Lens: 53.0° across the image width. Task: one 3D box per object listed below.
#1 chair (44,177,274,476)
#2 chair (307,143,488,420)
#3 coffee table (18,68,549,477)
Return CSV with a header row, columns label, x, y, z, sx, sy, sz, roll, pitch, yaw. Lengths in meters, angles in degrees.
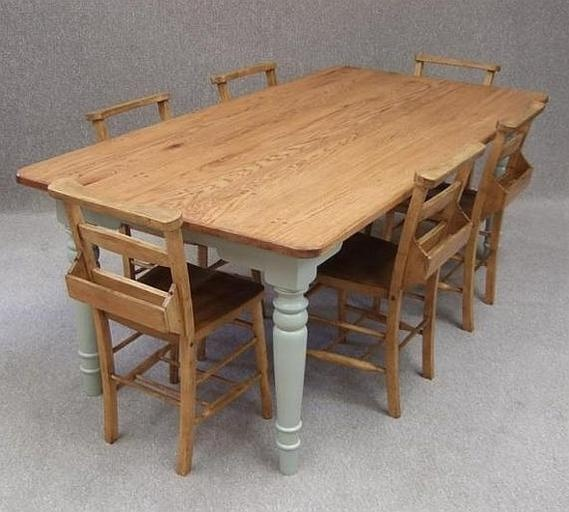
label,x,y,z,sx,sy,sz,roll,pitch,yaw
chair,-0.355,0.203,1.764,0.595,0.976,0.505,-5,31,-2
chair,0.329,0.082,2.075,0.591,0.856,0.528,13,27,33
coffee table,0.162,-0.199,2.376,1.092,0.702,1.779,23,39,32
